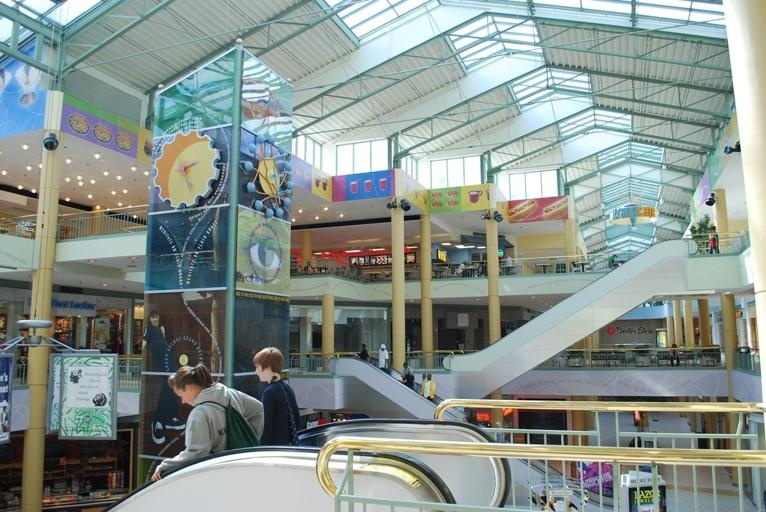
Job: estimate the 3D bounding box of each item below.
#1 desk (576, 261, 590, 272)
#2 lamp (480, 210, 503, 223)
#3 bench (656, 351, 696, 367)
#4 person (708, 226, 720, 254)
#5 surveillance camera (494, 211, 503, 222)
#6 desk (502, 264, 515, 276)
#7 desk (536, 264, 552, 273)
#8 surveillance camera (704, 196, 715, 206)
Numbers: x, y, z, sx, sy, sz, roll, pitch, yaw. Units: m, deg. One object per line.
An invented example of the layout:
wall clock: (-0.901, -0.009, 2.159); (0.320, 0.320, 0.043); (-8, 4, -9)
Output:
desk: (9.773, 0.545, 32.677); (0.674, 0.600, 0.460); (1, -20, -5)
lamp: (5.681, -2.078, 34.455); (0.883, 0.425, 0.652); (4, 3, 7)
bench: (13.316, 4.658, 30.056); (1.526, 0.741, 0.720); (-2, -3, 27)
person: (13.608, -0.655, 27.194); (0.421, 1.278, 0.822); (-4, -4, 21)
surveillance camera: (5.983, -2.089, 34.404); (0.446, 0.563, 0.225); (-24, -1, 14)
desk: (6.470, 0.757, 34.112); (0.603, 0.543, 0.450); (-8, -19, 29)
desk: (8.109, 0.627, 33.204); (0.791, 0.397, 0.568); (-6, -12, 32)
surveillance camera: (15.124, -2.495, 30.442); (0.389, 0.362, 0.420); (14, 24, 11)
